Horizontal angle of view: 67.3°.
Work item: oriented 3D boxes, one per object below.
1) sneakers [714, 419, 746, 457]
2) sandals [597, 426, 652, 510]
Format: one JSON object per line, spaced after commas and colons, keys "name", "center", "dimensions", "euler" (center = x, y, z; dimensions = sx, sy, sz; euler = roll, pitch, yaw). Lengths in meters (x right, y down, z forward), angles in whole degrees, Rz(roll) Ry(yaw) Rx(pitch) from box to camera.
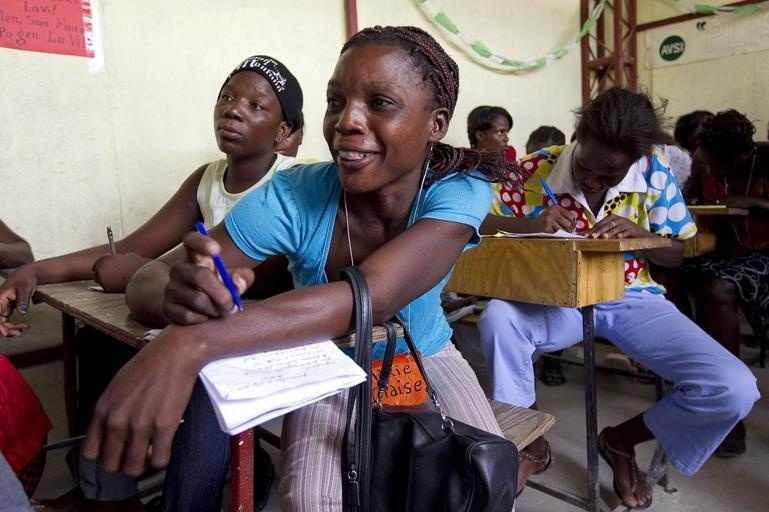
{"name": "sneakers", "center": [1.670, 0.892, 2.850], "dimensions": [0.165, 0.165, 0.114], "euler": [0, -3, -4]}
{"name": "sandals", "center": [1.089, 0.889, 2.560], "dimensions": [0.141, 0.396, 0.163], "euler": [-11, -31, 6]}
